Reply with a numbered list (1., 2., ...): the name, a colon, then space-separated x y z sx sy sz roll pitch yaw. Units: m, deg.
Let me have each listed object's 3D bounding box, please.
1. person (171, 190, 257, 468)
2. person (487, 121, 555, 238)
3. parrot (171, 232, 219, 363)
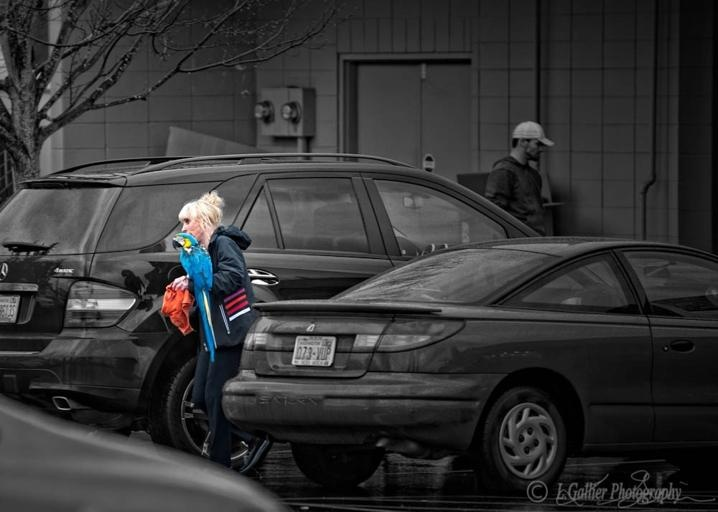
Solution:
1. person: -1.027 0.509 6.275 0.724 1.763 0.702 0 2 -19
2. person: 1.917 -0.799 9.995 0.801 1.434 0.948 3 9 40
3. parrot: -1.159 0.286 6.046 0.288 0.927 0.210 1 -3 -19
